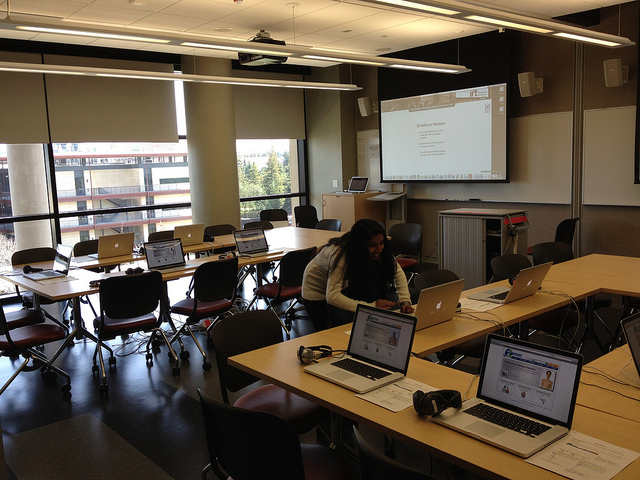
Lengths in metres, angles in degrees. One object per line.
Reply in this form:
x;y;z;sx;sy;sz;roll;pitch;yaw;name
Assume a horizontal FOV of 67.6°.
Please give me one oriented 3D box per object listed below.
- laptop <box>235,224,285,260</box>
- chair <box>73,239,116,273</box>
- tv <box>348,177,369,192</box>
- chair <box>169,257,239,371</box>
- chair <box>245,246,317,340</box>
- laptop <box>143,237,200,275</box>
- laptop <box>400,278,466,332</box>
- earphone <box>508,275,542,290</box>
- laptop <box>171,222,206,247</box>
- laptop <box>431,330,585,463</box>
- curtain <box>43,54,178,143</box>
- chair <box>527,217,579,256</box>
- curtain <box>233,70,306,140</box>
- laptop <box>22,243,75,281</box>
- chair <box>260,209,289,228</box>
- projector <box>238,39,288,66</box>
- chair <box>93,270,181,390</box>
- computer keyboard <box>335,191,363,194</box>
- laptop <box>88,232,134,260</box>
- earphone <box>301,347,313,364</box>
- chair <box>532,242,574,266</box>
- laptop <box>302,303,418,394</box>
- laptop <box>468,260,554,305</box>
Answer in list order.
-0.802;0.017;6.193;0.378;0.341;0.502;1;8;44;laptop
-3.063;0.109;6.503;0.440;0.412;0.582;7;7;43;chair
0.760;-1.085;9.399;0.347;0.303;0.258;9;1;30;tv
-1.237;0.742;5.273;0.848;1.123;0.866;-1;8;-19;chair
-0.505;0.561;5.906;0.838;1.107;0.708;9;12;24;chair
-1.733;0.173;5.570;0.443;0.314;0.505;5;10;34;laptop
0.767;0.430;3.389;0.473;0.306;0.361;-7;16;-36;laptop
1.659;0.340;3.837;0.168;0.051;0.118;-14;7;-38;earphone
-1.803;-0.086;6.649;0.426;0.301;0.297;-5;19;-38;laptop
0.891;0.686;2.238;0.522;0.376;0.481;8;16;42;laptop
-3.427;-2.171;7.968;2.012;0.043;1.426;-6;-34;-27;curtain
3.154;-0.045;6.562;0.444;0.772;0.488;-10;14;-42;chair
-1.001;-2.587;9.778;1.709;1.071;0.130;-12;15;-39;curtain
-3.029;0.241;5.329;0.464;0.327;0.515;-5;8;-31;laptop
-0.819;-0.407;8.734;0.351;0.493;0.401;-3;5;-24;chair
-0.785;-2.550;6.516;0.527;0.284;1.239;-6;12;-15;projector
-1.957;0.819;4.969;0.789;1.137;0.832;-5;12;-30;chair
0.546;-0.920;9.324;0.224;0.025;0.560;-11;14;-35;computer keyboard
-2.603;0.067;6.094;0.425;0.303;0.352;-4;18;-45;laptop
-0.077;0.704;2.890;0.048;0.084;0.060;9;16;43;earphone
2.534;0.157;5.200;0.258;0.422;0.290;-4;2;-4;chair
0.246;0.511;2.711;0.491;0.359;0.501;-4;10;-42;laptop
1.565;0.330;3.925;0.606;0.281;0.432;-12;15;-39;laptop
